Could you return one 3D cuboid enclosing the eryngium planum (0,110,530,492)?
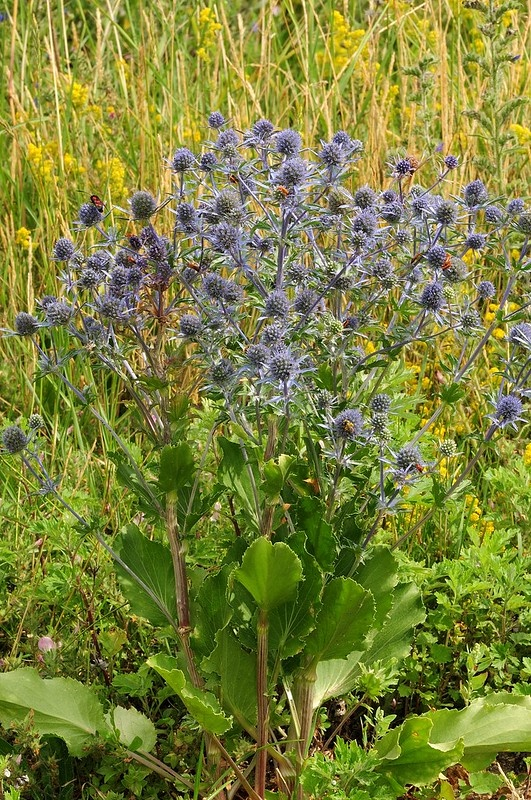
[{"bbox_3d":[-0.068,-0.322,2.899,1.756,1.053,1.659,4,-21,-13],"label":"eryngium planum"}]
